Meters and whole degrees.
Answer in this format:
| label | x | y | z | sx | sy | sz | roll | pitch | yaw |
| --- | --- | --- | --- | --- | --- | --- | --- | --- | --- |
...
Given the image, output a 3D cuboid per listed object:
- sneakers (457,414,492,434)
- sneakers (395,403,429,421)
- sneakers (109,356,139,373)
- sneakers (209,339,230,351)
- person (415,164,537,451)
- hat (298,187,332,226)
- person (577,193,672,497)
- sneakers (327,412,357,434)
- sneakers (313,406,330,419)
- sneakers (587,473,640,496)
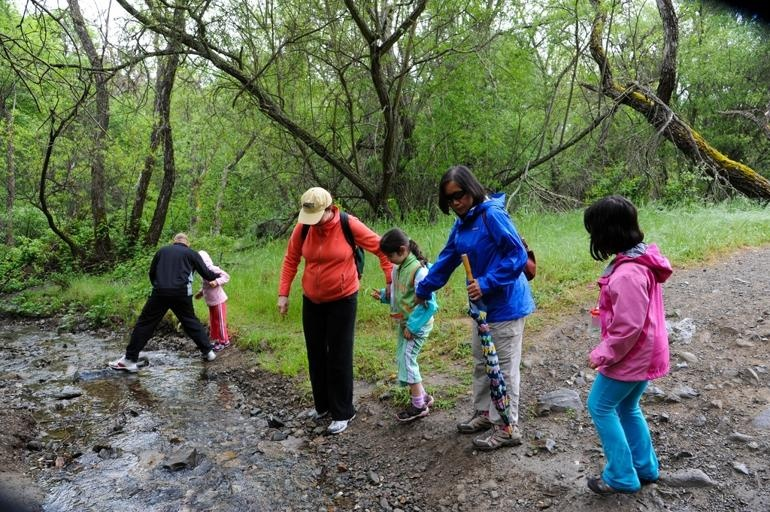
| label | x | y | z | sx | sy | sz | roll | pitch | yaw |
| --- | --- | --- | --- | --- | --- | --- | --- | --- | --- |
| sneakers | 1.285 | 2.374 | 7.967 | 0.524 | 0.278 | 0.211 | -4 | -4 | 0 |
| sneakers | 0.418 | 2.335 | 8.408 | 0.530 | 0.264 | 0.202 | 0 | -6 | -5 |
| sneakers | -4.825 | 1.991 | 10.361 | 0.540 | 0.259 | 0.242 | 10 | -7 | -4 |
| sneakers | -3.208 | 1.740 | 10.904 | 0.330 | 0.146 | 0.148 | 10 | -9 | -43 |
| person | 1.368 | 0.697 | 7.666 | 1.351 | 3.852 | 0.614 | -2 | 7 | 15 |
| hat | -1.066 | -0.749 | 8.159 | 0.408 | 0.357 | 0.632 | 12 | 41 | 22 |
| person | 3.009 | 1.114 | 7.043 | 1.014 | 3.705 | 0.536 | -3 | 7 | 11 |
| sneakers | -0.652 | 2.564 | 8.602 | 0.190 | 0.217 | 0.452 | -9 | -6 | 43 |
| sneakers | -1.005 | 2.459 | 8.750 | 0.258 | 0.123 | 0.122 | 7 | -5 | -17 |
| sneakers | 2.886 | 2.916 | 7.110 | 0.597 | 0.281 | 0.254 | 8 | -28 | 19 |
